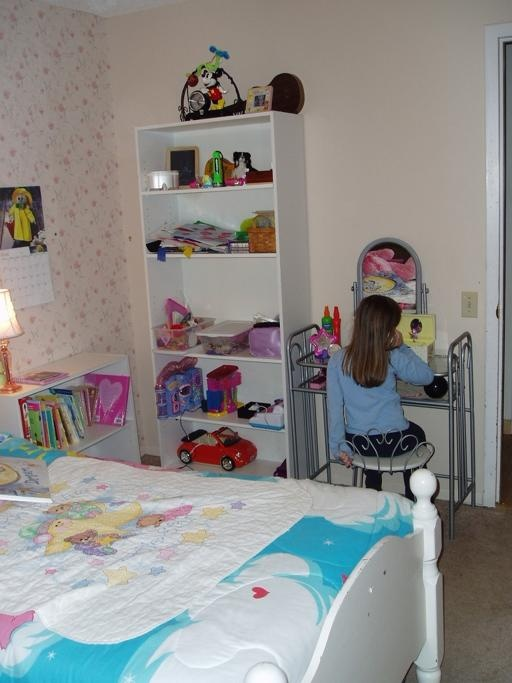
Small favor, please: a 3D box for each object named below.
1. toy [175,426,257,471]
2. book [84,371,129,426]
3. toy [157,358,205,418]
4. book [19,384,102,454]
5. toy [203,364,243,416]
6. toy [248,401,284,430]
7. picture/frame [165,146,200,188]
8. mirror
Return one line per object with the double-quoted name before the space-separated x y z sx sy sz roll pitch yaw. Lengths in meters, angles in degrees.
"toy" -0.229 0.598 3.134 0.370 0.165 0.234 3 8 23
"book" -0.814 0.315 2.891 0.304 0.319 0.046 5 11 20
"toy" -0.447 0.273 3.063 0.135 0.292 0.333 3 11 30
"book" -0.971 0.378 2.648 0.233 0.293 0.567 -5 6 1
"toy" -0.119 0.286 3.040 0.194 0.303 0.293 3 4 25
"toy" 0.061 0.384 2.869 0.150 0.087 0.150 -1 8 37
"picture/frame" -0.397 -0.962 2.924 0.177 0.215 0.091 -6 6 -7
"mirror" 0.661 -0.314 2.569 0.422 0.436 0.033 4 14 25
